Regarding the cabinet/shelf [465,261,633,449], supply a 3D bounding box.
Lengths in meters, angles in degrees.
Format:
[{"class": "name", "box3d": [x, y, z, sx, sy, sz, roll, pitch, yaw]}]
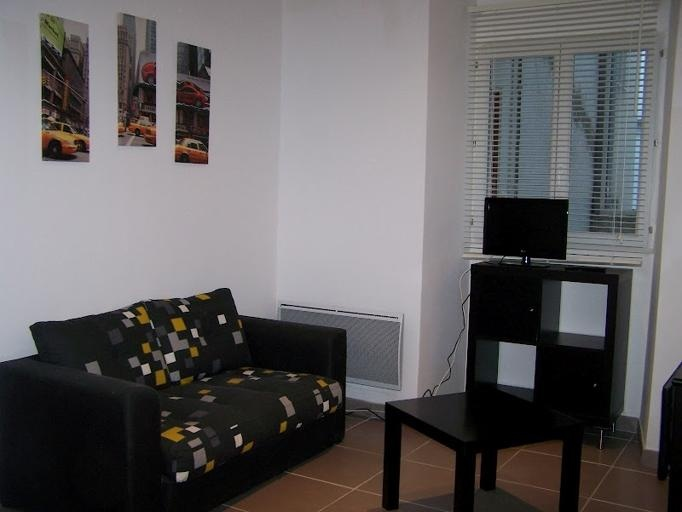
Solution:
[{"class": "cabinet/shelf", "box3d": [1.513, 0.642, 4.061, 1.065, 1.103, 0.392, 1, -5, 39]}]

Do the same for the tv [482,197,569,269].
[{"class": "tv", "box3d": [1.327, -0.195, 3.962, 0.573, 0.454, 0.102, 4, 7, 15]}]

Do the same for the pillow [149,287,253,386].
[{"class": "pillow", "box3d": [-0.907, 0.506, 3.463, 0.156, 0.521, 0.542, -22, -8, 39]}]
